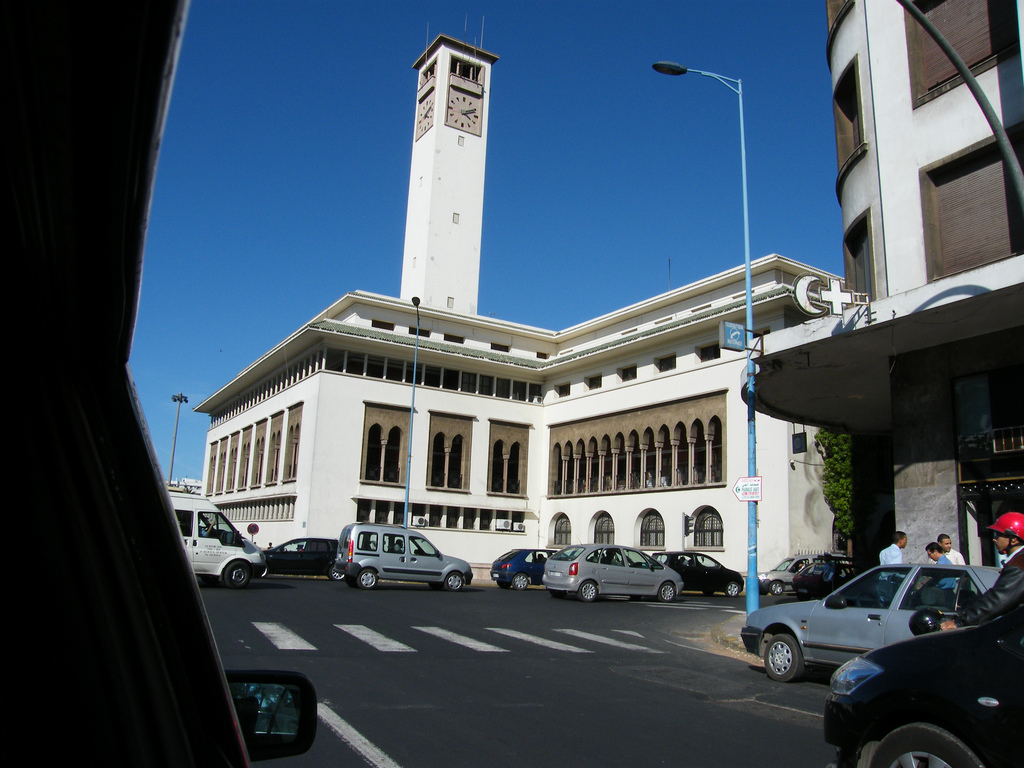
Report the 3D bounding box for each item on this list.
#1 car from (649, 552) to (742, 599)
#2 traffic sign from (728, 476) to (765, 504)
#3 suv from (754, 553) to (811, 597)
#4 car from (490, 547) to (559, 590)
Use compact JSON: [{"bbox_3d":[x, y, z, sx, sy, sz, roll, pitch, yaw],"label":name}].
[{"bbox_3d":[7.615,7.823,32.453,3.368,1.666,2.035,1,-7,-18],"label":"car"},{"bbox_3d":[5.253,2.327,17.407,0.482,0.554,0.897,-3,-13,9],"label":"traffic sign"},{"bbox_3d":[11.423,8.177,33.216,2.146,1.306,1.528,2,-12,-5],"label":"suv"},{"bbox_3d":[0.515,7.649,32.416,2.618,1.347,1.707,2,-8,-23],"label":"car"}]
